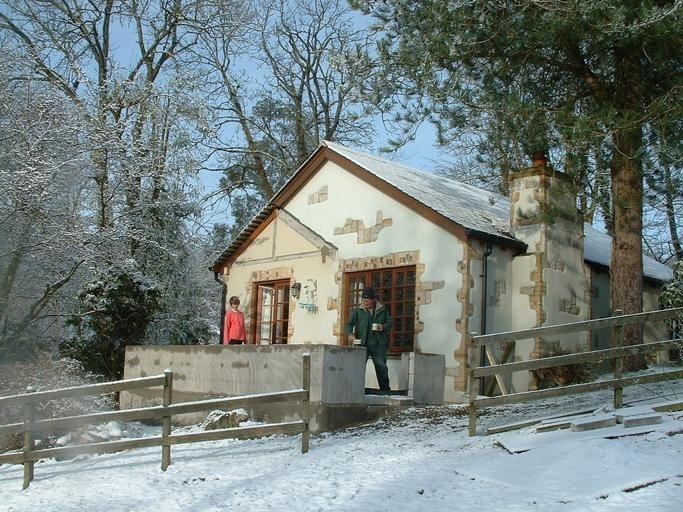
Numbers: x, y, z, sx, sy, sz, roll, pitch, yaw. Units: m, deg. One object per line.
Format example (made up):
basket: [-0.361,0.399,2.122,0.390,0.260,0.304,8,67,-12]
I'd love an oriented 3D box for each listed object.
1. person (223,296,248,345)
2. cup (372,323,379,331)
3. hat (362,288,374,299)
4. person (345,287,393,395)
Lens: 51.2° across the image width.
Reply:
person: [-2.358,1.410,15.594,0.421,1.131,0.691,-6,8,-11]
cup: [0.649,1.344,13.500,0.134,0.153,0.106,1,-8,15]
hat: [0.534,0.730,13.764,0.160,0.189,0.226,-3,-15,30]
person: [0.566,1.624,13.678,0.822,1.990,0.502,-3,7,8]
